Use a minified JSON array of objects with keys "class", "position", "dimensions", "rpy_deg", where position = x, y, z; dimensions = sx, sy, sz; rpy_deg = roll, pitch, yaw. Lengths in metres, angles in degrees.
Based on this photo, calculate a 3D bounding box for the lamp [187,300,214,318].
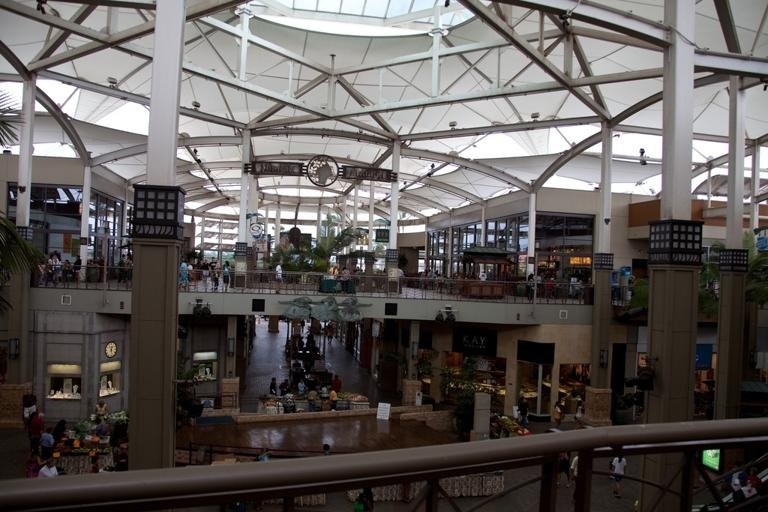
[{"class":"lamp","position":[-9.120,2.715,33.861],"dimensions":[0.767,0.372,0.975],"rpy_deg":[-4,33,-19]}]

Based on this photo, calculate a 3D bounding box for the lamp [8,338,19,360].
[{"class":"lamp","position":[-17.195,4.290,31.530],"dimensions":[0.466,0.941,0.281],"rpy_deg":[0,-11,-32]}]

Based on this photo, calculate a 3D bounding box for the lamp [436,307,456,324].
[{"class":"lamp","position":[3.294,3.060,35.618],"dimensions":[0.901,0.608,0.866],"rpy_deg":[0,-1,5]}]

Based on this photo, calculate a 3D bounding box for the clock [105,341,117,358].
[{"class":"clock","position":[-13.383,4.554,33.241],"dimensions":[0.247,0.634,0.676],"rpy_deg":[3,-1,24]}]

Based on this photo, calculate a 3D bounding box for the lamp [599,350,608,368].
[{"class":"lamp","position":[11.260,5.266,34.747],"dimensions":[0.536,0.888,0.206],"rpy_deg":[0,-11,-30]}]

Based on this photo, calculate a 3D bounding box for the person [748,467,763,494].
[{"class":"person","position":[8.952,5.422,16.478],"dimensions":[0.316,0.594,1.435],"rpy_deg":[-10,-10,25]}]
